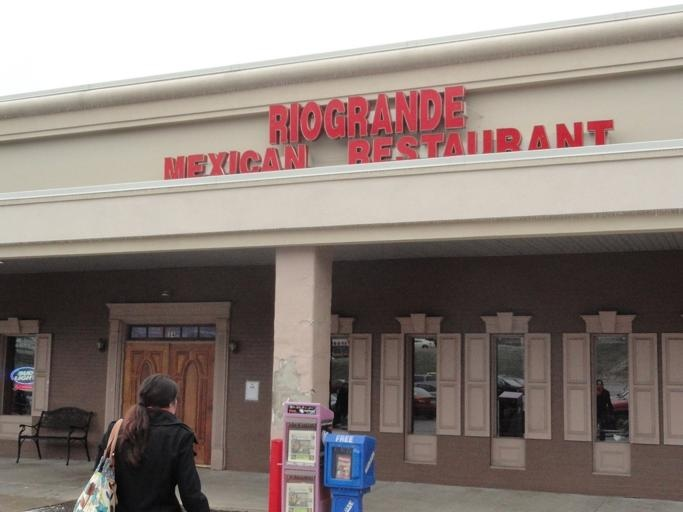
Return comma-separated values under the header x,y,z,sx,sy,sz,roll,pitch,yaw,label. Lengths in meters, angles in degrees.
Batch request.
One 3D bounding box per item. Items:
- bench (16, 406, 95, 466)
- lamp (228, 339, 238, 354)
x,y,z,sx,sy,sz,roll,pitch,yaw,label
-6.272,3.915,16.328,1.489,1.128,0.798,-4,-10,20,bench
-2.263,1.897,15.610,0.210,0.306,0.133,-1,-10,11,lamp
